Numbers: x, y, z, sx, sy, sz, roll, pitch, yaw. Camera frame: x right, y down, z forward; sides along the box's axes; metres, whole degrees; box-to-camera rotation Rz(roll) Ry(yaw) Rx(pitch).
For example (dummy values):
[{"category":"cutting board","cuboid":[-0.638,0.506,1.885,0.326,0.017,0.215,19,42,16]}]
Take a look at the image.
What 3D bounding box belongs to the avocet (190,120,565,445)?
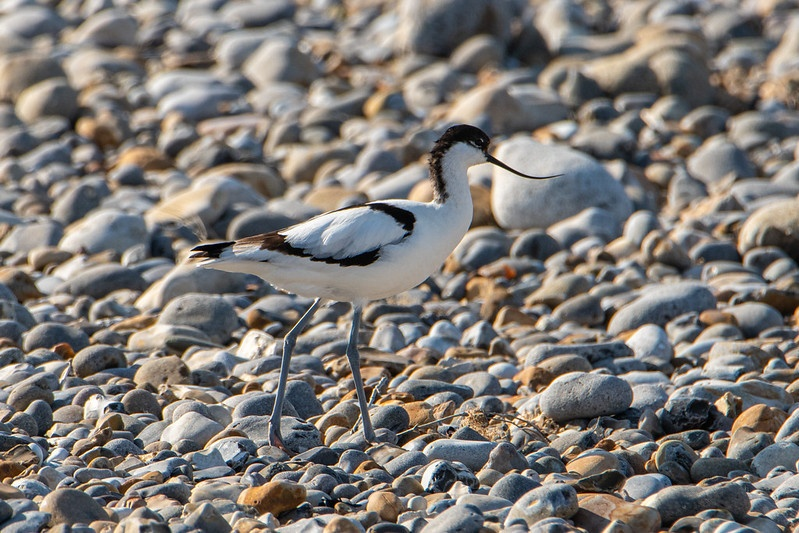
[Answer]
[{"category":"avocet","cuboid":[-0.273,0.040,11.065,3.635,2.509,0.921,-3,0,-18]}]
